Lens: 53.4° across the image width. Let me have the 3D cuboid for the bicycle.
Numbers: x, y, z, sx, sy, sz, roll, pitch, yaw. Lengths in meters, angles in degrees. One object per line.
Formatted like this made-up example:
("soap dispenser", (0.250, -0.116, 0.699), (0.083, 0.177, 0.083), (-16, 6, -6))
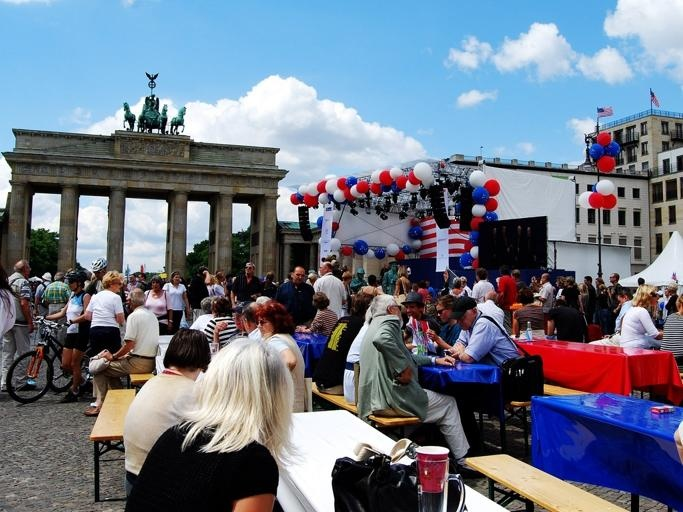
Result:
("bicycle", (-5.516, 2.022, 12.463), (0.935, 1.160, 1.850), (1, -13, 23))

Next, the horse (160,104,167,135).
("horse", (-15.624, -11.946, 59.305), (0.400, 2.474, 0.542), (0, 0, 24))

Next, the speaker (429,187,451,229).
("speaker", (3.735, -1.857, 25.946), (0.762, 1.745, 2.199), (0, 0, 8))

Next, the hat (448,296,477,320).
("hat", (1.593, 0.662, 8.945), (0.349, 0.205, 0.236), (-24, 10, -27))

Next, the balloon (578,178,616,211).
("balloon", (8.710, -2.255, 22.463), (1.246, 1.293, 0.580), (-6, 43, -1))

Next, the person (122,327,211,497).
("person", (-1.429, 1.133, 5.474), (0.605, 1.329, 0.669), (0, 3, -19))

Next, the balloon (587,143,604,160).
("balloon", (8.403, -3.514, 22.366), (0.507, 0.613, 0.521), (-5, -13, 14))

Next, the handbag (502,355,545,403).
("handbag", (2.322, 1.569, 8.857), (0.548, 0.663, 0.567), (0, -5, -15))

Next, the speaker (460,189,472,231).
("speaker", (4.985, -1.888, 26.980), (0.442, 1.666, 1.303), (0, 0, 6))

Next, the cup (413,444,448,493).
("cup", (0.618, 1.429, 4.569), (0.209, 0.286, 0.192), (0, 0, 0))

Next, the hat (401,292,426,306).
("hat", (1.076, 0.659, 10.365), (0.353, 0.149, 0.411), (-2, -16, 15))
